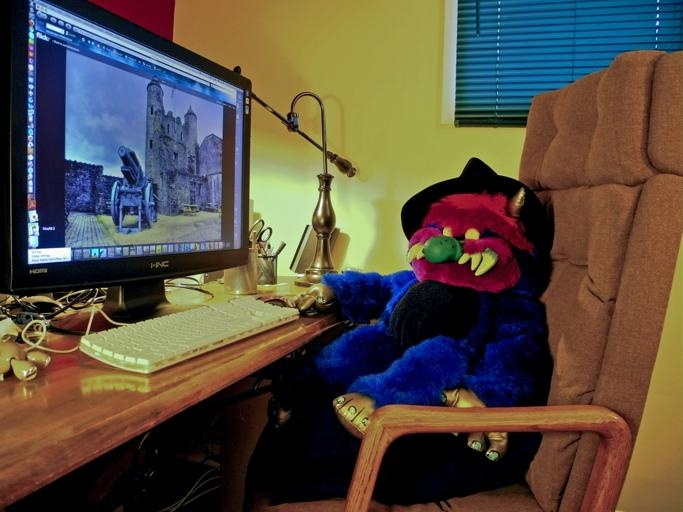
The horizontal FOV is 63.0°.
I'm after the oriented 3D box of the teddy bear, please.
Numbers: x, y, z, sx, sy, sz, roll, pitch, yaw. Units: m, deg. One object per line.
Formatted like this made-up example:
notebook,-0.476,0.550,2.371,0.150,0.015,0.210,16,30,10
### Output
teddy bear,0.089,0.153,1.534,0.666,1.047,0.709,9,-3,-22
